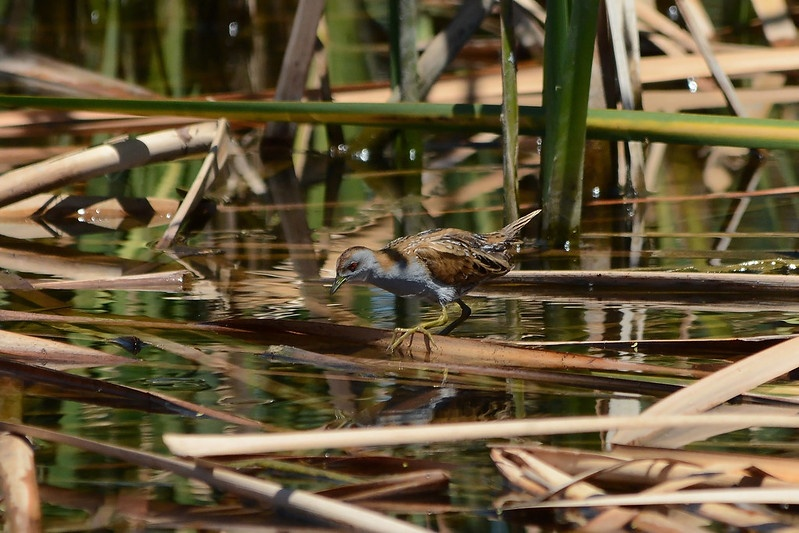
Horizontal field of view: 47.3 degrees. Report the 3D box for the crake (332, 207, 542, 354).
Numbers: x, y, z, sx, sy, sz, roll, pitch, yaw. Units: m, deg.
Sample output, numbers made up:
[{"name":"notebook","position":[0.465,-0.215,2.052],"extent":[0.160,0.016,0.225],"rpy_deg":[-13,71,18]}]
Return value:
[{"name":"crake","position":[0.213,0.035,4.218],"extent":[0.535,0.368,0.794],"rpy_deg":[10,21,40]}]
